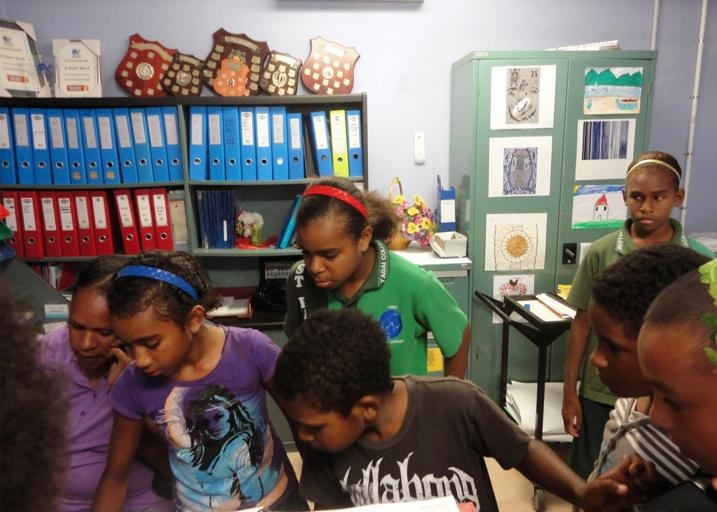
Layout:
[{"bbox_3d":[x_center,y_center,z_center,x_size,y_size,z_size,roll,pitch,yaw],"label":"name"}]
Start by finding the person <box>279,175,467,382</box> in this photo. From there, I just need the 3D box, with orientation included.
[{"bbox_3d":[0.022,0.168,2.197,0.759,0.972,0.529,-1,15,8],"label":"person"}]

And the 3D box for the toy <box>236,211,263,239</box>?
[{"bbox_3d":[-0.685,-0.194,3.612,0.138,0.172,0.176,-3,-11,11],"label":"toy"}]
